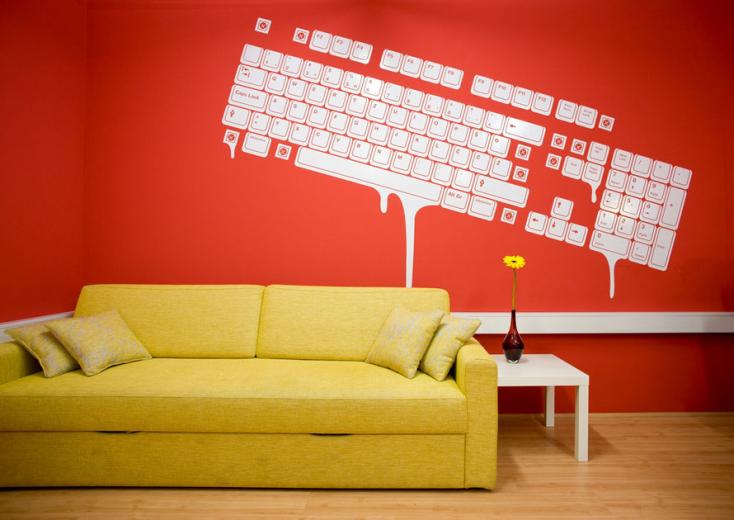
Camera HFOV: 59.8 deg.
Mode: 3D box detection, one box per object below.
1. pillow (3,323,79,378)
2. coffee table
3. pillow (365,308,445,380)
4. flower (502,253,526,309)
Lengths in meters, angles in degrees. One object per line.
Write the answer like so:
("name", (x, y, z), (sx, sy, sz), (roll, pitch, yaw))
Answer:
("pillow", (-2.093, 0.569, 4.096), (0.380, 0.112, 0.369), (-15, 57, -40))
("coffee table", (1.230, 0.829, 4.491), (0.609, 0.454, 1.075), (1, -1, 5))
("pillow", (0.295, 0.556, 4.290), (0.146, 0.426, 0.474), (38, -16, -34))
("flower", (1.099, 0.171, 4.797), (0.175, 0.411, 0.371), (4, 5, 11))
